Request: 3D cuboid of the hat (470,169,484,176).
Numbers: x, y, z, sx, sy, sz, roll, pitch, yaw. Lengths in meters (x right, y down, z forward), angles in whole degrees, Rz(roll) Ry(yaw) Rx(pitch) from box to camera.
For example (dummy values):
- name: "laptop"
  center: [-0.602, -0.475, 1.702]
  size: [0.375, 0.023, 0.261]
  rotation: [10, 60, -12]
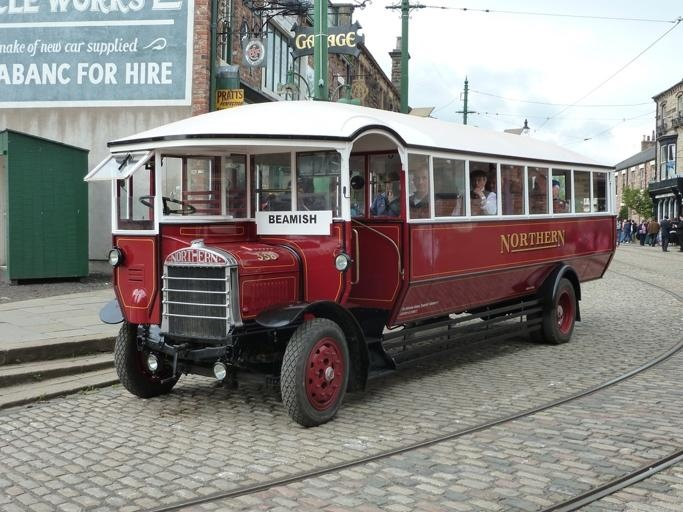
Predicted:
- name: "hat"
  center: [1.929, -1.169, 8.187]
  size: [0.140, 0.096, 0.146]
  rotation: [0, 2, 45]

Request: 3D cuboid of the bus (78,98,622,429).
- name: "bus"
  center: [1.371, -0.291, 9.167]
  size: [2.682, 3.678, 9.684]
  rotation: [3, 5, 45]

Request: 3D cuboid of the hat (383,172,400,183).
- name: "hat"
  center: [0.613, -0.982, 7.034]
  size: [0.123, 0.132, 0.215]
  rotation: [1, -1, -39]
